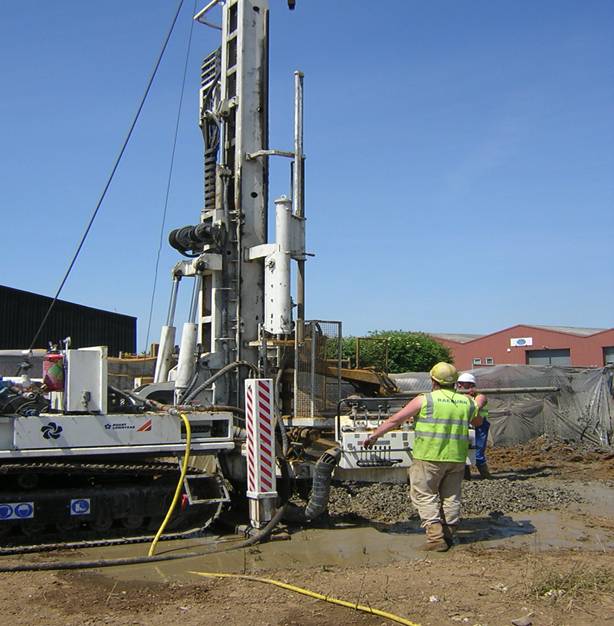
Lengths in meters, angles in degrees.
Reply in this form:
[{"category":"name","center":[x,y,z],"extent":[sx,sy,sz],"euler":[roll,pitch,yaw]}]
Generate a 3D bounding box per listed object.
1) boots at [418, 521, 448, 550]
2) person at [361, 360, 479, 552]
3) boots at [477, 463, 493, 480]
[{"category":"boots","center":[1.270,2.131,6.817],"extent":[0.258,0.269,0.248],"euler":[2,-7,-19]},{"category":"person","center":[1.241,1.513,6.950],"extent":[0.810,1.507,0.464],"euler":[3,-7,-22]},{"category":"boots","center":[2.797,2.546,11.348],"extent":[0.091,0.284,0.225],"euler":[-23,6,26]}]
